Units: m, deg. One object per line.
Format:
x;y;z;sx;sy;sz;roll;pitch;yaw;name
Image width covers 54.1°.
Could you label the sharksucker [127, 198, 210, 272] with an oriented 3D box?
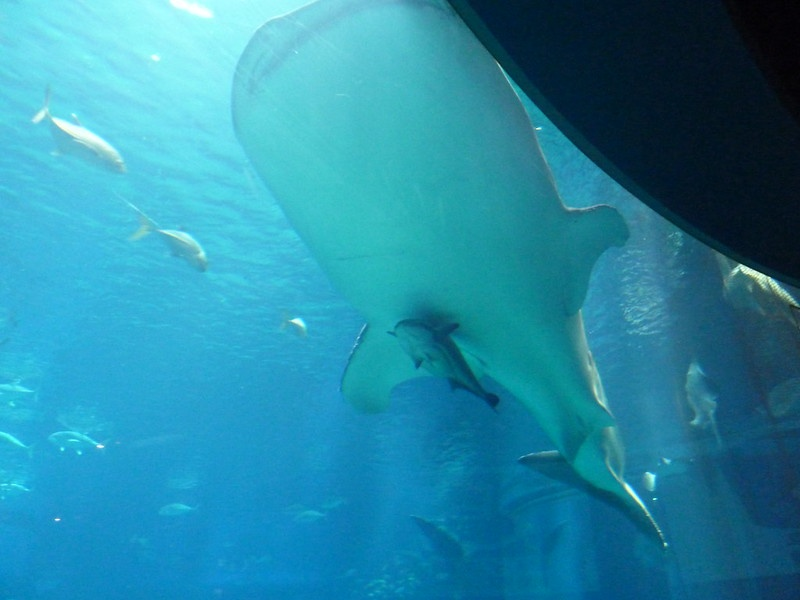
-3.988;-1.174;13.410;1.778;0.331;0.673;32;-86;-18;sharksucker
